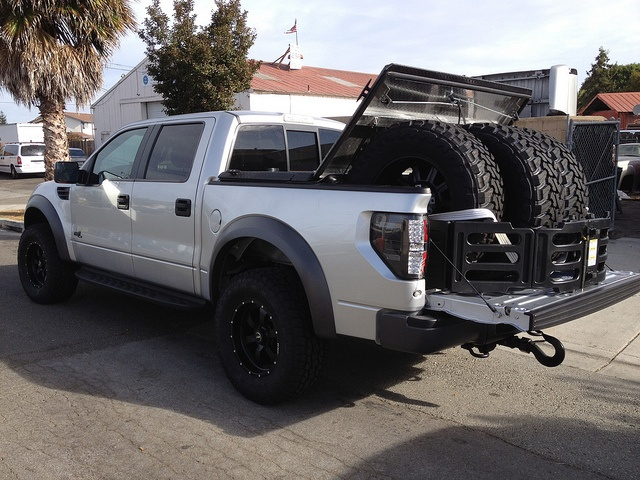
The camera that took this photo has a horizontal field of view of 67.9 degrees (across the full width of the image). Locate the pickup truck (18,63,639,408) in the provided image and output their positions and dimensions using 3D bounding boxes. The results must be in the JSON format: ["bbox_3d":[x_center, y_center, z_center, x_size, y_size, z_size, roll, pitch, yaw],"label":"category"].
[{"bbox_3d":[-0.474,-0.333,5.213,6.625,2.592,2.995,9,14,37],"label":"pickup truck"}]
